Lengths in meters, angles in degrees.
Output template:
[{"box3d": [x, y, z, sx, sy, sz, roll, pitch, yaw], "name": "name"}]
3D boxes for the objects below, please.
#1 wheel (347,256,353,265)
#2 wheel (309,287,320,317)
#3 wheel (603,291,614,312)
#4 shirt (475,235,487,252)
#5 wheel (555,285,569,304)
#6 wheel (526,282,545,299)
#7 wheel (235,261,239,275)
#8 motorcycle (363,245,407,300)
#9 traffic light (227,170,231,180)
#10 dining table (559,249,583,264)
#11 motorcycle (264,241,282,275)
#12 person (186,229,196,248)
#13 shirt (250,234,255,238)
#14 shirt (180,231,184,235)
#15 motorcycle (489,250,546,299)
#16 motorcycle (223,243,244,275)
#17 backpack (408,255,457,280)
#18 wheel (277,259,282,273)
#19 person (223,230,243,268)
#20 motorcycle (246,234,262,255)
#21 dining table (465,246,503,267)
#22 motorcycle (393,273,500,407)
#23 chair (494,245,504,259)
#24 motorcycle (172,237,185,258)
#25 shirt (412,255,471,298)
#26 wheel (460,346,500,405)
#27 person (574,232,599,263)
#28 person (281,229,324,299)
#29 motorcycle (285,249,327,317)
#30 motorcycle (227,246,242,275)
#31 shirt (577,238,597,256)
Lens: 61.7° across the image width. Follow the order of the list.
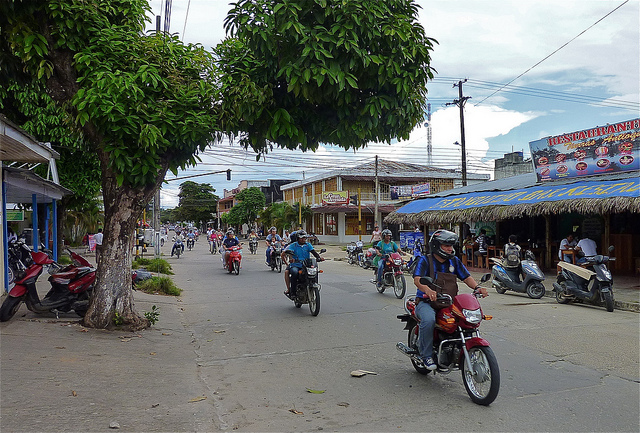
[{"box3d": [1.566, 2.202, 27.195, 0.170, 0.410, 0.411, 0, 0, -25], "name": "wheel"}, {"box3d": [-0.134, 2.054, 13.133, 0.222, 0.678, 0.443, 1, -4, -4], "name": "wheel"}, {"box3d": [7.557, 2.188, 13.942, 0.211, 0.499, 0.297, 0, -4, 8], "name": "wheel"}, {"box3d": [7.157, 1.155, 23.583, 0.405, 0.719, 0.652, 0, -4, 14], "name": "shirt"}, {"box3d": [6.791, 2.219, 15.050, 0.123, 0.398, 0.405, 6, -33, -24], "name": "wheel"}, {"box3d": [6.428, 2.175, 15.923, 0.383, 0.377, 0.150, -27, -22, 25], "name": "wheel"}, {"box3d": [-3.437, 2.075, 21.947, 0.128, 0.495, 0.500, 1, -9, -12], "name": "wheel"}, {"box3d": [2.403, 1.648, 16.402, 1.136, 1.390, 2.133, 0, 0, -23], "name": "motorcycle"}, {"box3d": [-7.576, -3.431, 43.801, 0.199, 0.641, 0.843, 2, -4, -21], "name": "traffic light"}, {"box3d": [9.119, 1.313, 19.487, 0.792, 0.708, 0.592, -1, 2, -43], "name": "dining table"}, {"box3d": [-1.906, 1.780, 23.025, 0.719, 0.897, 1.555, -1, -2, -19], "name": "motorcycle"}, {"box3d": [-10.222, 1.504, 42.209, 0.818, 0.899, 1.469, 0, 3, -8], "name": "person"}, {"box3d": [-4.336, 1.193, 34.232, 0.207, 0.196, 0.110, 0, -6, -8], "name": "shirt"}, {"box3d": [-15.431, 1.776, 59.460, 0.157, 0.615, 0.636, 14, 12, 5], "name": "shirt"}, {"box3d": [6.143, 1.745, 16.646, 0.763, 1.419, 2.048, 10, -5, -28], "name": "motorcycle"}, {"box3d": [-3.627, 1.734, 22.424, 0.656, 1.292, 1.269, 2, -4, -18], "name": "motorcycle"}, {"box3d": [1.850, 0.818, 8.976, 0.364, 0.428, 0.727, 2, 4, -45], "name": "backpack"}, {"box3d": [-1.724, 2.056, 22.689, 0.187, 0.572, 0.487, 1, -4, -5], "name": "wheel"}, {"box3d": [-3.613, 1.138, 22.718, 0.853, 0.930, 1.448, 0, -6, -13], "name": "person"}, {"box3d": [-4.995, 2.077, 39.919, 1.281, 1.379, 2.160, 0, -4, -7], "name": "motorcycle"}, {"box3d": [7.253, 1.737, 24.357, 0.869, 1.095, 1.160, -1, 2, 0], "name": "dining table"}, {"box3d": [2.053, 1.893, 8.576, 1.594, 1.887, 0.986, -1, -4, 21], "name": "motorcycle"}, {"box3d": [7.540, 1.486, 22.522, 0.459, 0.437, 0.465, -3, -4, 26], "name": "chair"}, {"box3d": [-9.341, 2.045, 35.143, 1.219, 1.547, 2.707, 1, -2, -12], "name": "motorcycle"}, {"box3d": [2.018, 1.072, 9.107, 0.417, 0.878, 1.169, -5, -2, -40], "name": "shirt"}, {"box3d": [2.464, 2.362, 8.120, 0.355, 0.857, 0.657, 2, -4, -28], "name": "wheel"}, {"box3d": [8.915, 1.091, 17.875, 0.721, 1.265, 0.688, -7, 2, 4], "name": "person"}, {"box3d": [-0.566, 1.156, 14.331, 1.042, 1.091, 1.747, 1, -3, -11], "name": "person"}, {"box3d": [-0.361, 1.646, 13.582, 0.887, 1.571, 1.346, 1, -4, -1], "name": "motorcycle"}, {"box3d": [-3.598, 1.791, 22.248, 0.442, 1.153, 0.918, 1, -4, -16], "name": "motorcycle"}, {"box3d": [8.872, 1.015, 17.745, 0.663, 0.574, 0.321, 1, -6, 1], "name": "shirt"}]
